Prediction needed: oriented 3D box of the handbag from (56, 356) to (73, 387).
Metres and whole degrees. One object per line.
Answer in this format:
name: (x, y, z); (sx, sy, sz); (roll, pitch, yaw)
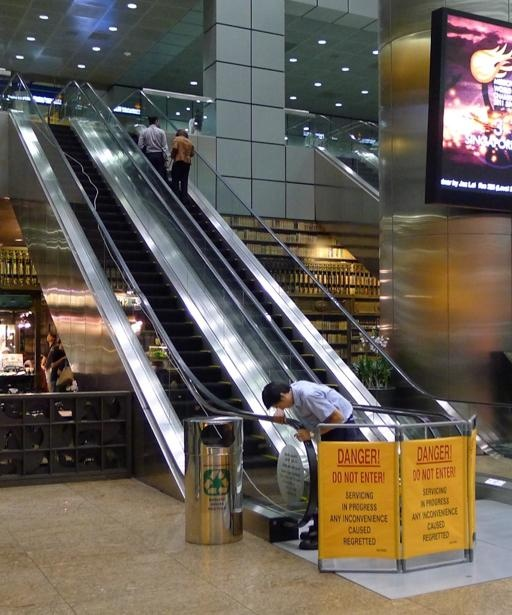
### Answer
handbag: (-2.782, 0.946, 9.797); (0.219, 0.410, 0.954); (0, -4, -17)

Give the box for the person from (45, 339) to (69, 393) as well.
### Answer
person: (-3.058, 0.895, 10.392); (0.352, 0.377, 1.116); (1, 37, -8)

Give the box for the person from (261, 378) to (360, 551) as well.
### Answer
person: (0.370, 0.936, 4.331); (0.576, 1.016, 0.437); (-4, 4, -3)

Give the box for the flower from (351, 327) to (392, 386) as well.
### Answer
flower: (1.492, 0.696, 8.811); (0.413, 0.676, 0.892); (-1, -4, 3)

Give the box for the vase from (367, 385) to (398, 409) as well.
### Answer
vase: (1.505, 1.047, 8.025); (0.248, 0.261, 0.235); (1, -3, 18)

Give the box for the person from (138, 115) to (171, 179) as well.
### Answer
person: (-1.864, -2.874, 12.220); (0.491, 1.208, 0.485); (0, -4, -11)

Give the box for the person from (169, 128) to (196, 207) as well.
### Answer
person: (-1.274, -2.460, 11.622); (0.380, 1.346, 0.569); (0, -4, -8)

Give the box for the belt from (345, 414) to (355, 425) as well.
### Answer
belt: (0.589, 0.710, 4.301); (0.030, 0.048, 0.321); (9, -5, 18)

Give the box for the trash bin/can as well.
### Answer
trash bin/can: (-0.289, 1.163, 4.576); (0.401, 0.792, 0.387); (0, -4, -5)

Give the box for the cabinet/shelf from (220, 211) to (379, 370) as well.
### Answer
cabinet/shelf: (1.126, -0.620, 12.790); (2.258, 3.295, 7.104); (-1, -4, 11)
